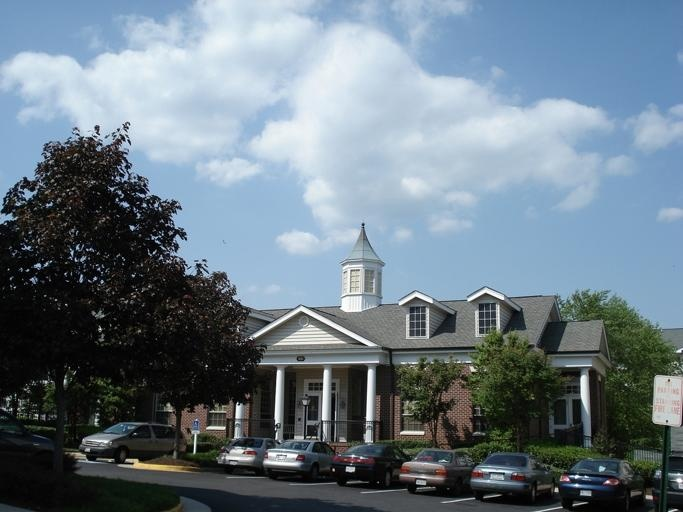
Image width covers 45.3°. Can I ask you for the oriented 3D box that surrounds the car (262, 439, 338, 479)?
[{"bbox_3d":[-1.261,7.734,31.500,1.232,0.947,2.803,-3,-7,26],"label":"car"}]

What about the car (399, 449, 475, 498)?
[{"bbox_3d":[3.467,7.640,29.189,2.752,1.620,1.402,10,-18,-37],"label":"car"}]

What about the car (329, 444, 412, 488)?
[{"bbox_3d":[1.345,7.764,30.680,1.232,0.984,2.889,-6,-12,27],"label":"car"}]

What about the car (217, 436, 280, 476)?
[{"bbox_3d":[-3.475,7.914,32.906,1.054,0.831,2.432,-2,-7,23],"label":"car"}]

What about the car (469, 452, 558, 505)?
[{"bbox_3d":[6.105,7.557,28.228,1.316,1.044,3.005,-4,-9,30],"label":"car"}]

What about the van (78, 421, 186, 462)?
[{"bbox_3d":[-9.121,8.106,35.746,3.862,1.750,1.318,13,-19,-43],"label":"van"}]
